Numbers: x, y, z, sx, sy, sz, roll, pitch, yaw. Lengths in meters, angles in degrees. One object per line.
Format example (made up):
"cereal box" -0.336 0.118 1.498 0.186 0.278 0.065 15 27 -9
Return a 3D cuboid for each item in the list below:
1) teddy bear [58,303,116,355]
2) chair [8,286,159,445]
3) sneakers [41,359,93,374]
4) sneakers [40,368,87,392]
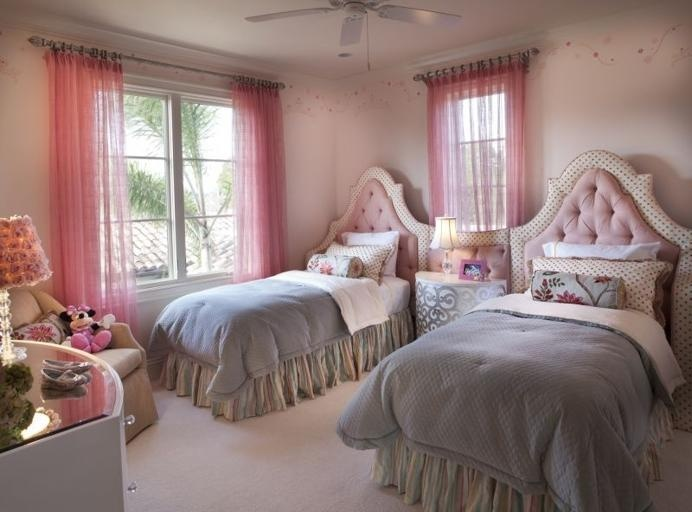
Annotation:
"teddy bear" -1.892 0.531 3.733 0.350 0.381 0.272 -6 -5 -23
"chair" -2.016 0.683 4.111 1.324 1.354 0.956 1 2 21
"sneakers" -1.265 0.492 2.304 0.213 0.065 0.082 0 -2 6
"sneakers" -1.224 0.525 2.192 0.156 0.062 0.092 3 4 14
